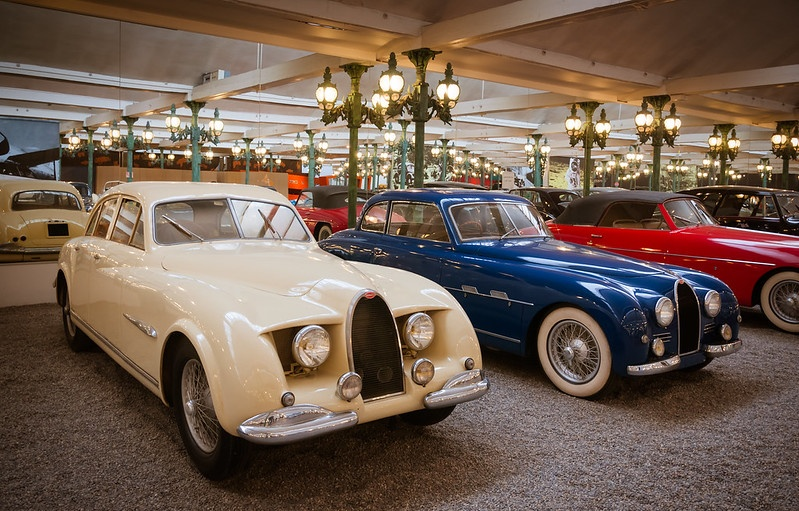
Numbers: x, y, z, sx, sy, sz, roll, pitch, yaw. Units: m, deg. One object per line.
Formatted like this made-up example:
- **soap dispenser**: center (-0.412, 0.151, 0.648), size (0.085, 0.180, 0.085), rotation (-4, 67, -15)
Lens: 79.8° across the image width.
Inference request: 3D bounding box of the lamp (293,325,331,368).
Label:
- **lamp**: center (-0.755, 0.773, 4.084), size (0.323, 0.352, 0.125), rotation (11, -15, -27)

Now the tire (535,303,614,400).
- **tire**: center (2.149, 1.163, 5.763), size (0.240, 1.035, 0.915), rotation (-3, 18, -44)

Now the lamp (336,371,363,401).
- **lamp**: center (-0.432, 1.130, 4.105), size (0.248, 0.251, 0.087), rotation (-2, 5, -29)

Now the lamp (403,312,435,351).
- **lamp**: center (0.187, 0.712, 4.525), size (0.333, 0.341, 0.319), rotation (3, -4, -13)

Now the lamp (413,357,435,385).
- **lamp**: center (0.226, 1.086, 4.416), size (0.231, 0.236, 0.091), rotation (-2, 3, 5)

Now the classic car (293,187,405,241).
- **classic car**: center (-2.169, -1.302, 14.497), size (1.875, 1.409, 3.113), rotation (-6, 16, -34)

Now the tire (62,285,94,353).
- **tire**: center (-4.103, 0.823, 6.130), size (0.243, 0.755, 0.737), rotation (-7, 21, -37)

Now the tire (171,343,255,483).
- **tire**: center (-1.581, 1.348, 4.110), size (0.280, 0.956, 0.875), rotation (-11, 43, -35)

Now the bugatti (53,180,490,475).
- **bugatti**: center (-1.512, 0.556, 5.078), size (4.574, 2.398, 2.088), rotation (12, 17, 34)
